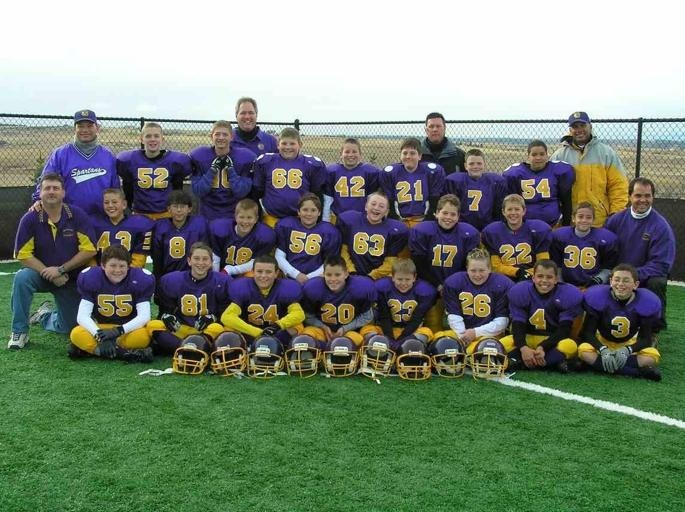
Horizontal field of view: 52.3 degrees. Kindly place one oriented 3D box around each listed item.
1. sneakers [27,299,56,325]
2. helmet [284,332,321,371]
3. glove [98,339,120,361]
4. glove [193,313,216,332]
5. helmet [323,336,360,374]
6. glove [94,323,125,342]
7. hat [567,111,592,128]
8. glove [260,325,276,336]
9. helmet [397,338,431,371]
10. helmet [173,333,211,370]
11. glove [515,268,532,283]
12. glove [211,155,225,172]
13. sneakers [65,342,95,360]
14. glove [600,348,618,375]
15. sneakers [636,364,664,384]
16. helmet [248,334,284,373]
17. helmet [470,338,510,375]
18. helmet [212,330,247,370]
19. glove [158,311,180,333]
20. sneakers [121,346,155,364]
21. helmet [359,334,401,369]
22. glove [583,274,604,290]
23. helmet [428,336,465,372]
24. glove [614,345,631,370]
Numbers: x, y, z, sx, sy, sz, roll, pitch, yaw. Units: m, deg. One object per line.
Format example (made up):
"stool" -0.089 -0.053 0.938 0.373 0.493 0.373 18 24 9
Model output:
"sneakers" -3.077 0.574 7.129 0.130 0.110 0.291 -20 34 40
"helmet" -0.331 0.827 5.822 0.280 0.334 0.235 -1 14 -6
"glove" -2.029 0.802 6.062 0.168 0.196 0.134 -2 15 -10
"glove" -1.215 0.568 6.149 0.168 0.051 0.122 -37 55 -13
"helmet" -0.019 0.818 5.897 0.305 0.295 0.378 2 4 -3
"glove" -2.017 0.676 6.038 0.237 0.127 0.102 -4 15 -20
"hat" 2.406 -1.400 7.116 0.199 0.147 0.221 5 15 16
"glove" -0.620 0.633 5.984 0.100 0.100 0.072 3 -2 -11
"helmet" 0.585 0.796 5.817 0.274 0.205 0.203 2 14 2
"helmet" -1.274 0.787 5.855 0.285 0.283 0.396 8 5 -10
"glove" 1.698 0.168 6.564 0.124 0.126 0.051 -5 -18 42
"glove" -1.245 -0.923 6.960 0.148 0.148 0.106 -3 15 -15
"sneakers" -2.335 0.835 6.172 0.191 0.114 0.075 18 25 -24
"glove" 2.239 0.877 5.880 0.128 0.204 0.050 -11 9 18
"sneakers" 2.581 0.985 5.851 0.093 0.084 0.159 5 13 -30
"helmet" -0.642 0.804 5.868 0.300 0.316 0.421 2 10 -2
"helmet" 1.249 0.821 5.934 0.311 0.305 0.404 2 7 6
"helmet" -0.971 0.780 5.883 0.308 0.330 0.420 -10 9 -7
"glove" -1.528 0.586 6.184 0.154 0.188 0.248 -3 15 -15
"sneakers" -1.772 0.854 6.028 0.321 0.110 0.144 1 7 -8
"helmet" 0.298 0.785 5.931 0.290 0.317 0.395 9 11 -1
"glove" 2.360 0.254 6.557 0.174 0.075 0.102 -29 38 4
"helmet" 0.884 0.828 5.934 0.294 0.301 0.380 -5 7 -12
"glove" 2.346 0.845 5.872 0.143 0.178 0.048 3 20 -11
